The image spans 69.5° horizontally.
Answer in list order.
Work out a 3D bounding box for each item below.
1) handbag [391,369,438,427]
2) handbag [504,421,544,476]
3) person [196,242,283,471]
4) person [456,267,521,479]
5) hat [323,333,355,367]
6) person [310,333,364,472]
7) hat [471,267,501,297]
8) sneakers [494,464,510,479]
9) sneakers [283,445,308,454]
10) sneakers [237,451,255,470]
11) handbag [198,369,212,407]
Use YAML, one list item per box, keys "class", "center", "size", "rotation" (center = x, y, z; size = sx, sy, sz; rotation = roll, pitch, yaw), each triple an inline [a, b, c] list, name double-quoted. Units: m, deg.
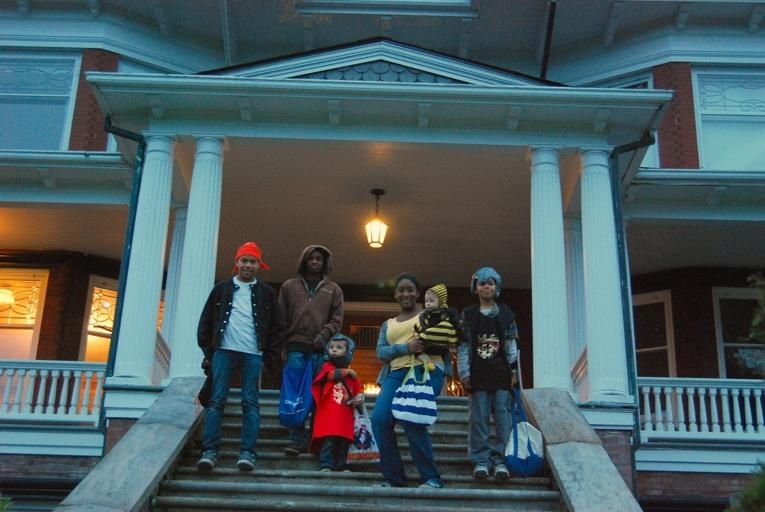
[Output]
- class: "handbag"
  center: [0.348, 1.542, 5.971]
  size: [0.605, 0.764, 0.269]
  rotation: [6, -42, -1]
- class: "handbag"
  center: [1.605, 2.172, 6.150]
  size: [0.505, 0.604, 0.232]
  rotation: [6, -8, -31]
- class: "person"
  center: [-1.671, 1.122, 6.475]
  size: [0.947, 2.610, 0.604]
  rotation: [4, -7, -16]
- class: "person"
  center: [1.203, 1.313, 6.378]
  size: [0.682, 2.359, 0.579]
  rotation: [1, -7, 8]
- class: "hat"
  center: [-0.456, 1.171, 6.752]
  size: [0.353, 0.398, 0.408]
  rotation: [-2, -28, 9]
- class: "person"
  center: [-0.559, 1.696, 6.488]
  size: [0.491, 1.517, 0.590]
  rotation: [7, -9, -34]
- class: "hat"
  center: [1.281, 0.307, 6.770]
  size: [0.376, 0.318, 0.411]
  rotation: [6, -3, -11]
- class: "sneakers"
  center: [1.311, 2.381, 6.065]
  size: [0.169, 0.172, 0.107]
  rotation: [2, -7, 0]
- class: "sneakers"
  center: [-1.013, 2.300, 6.557]
  size: [0.274, 0.101, 0.099]
  rotation: [14, -20, -33]
- class: "sneakers"
  center: [-1.500, 2.286, 6.161]
  size: [0.205, 0.204, 0.170]
  rotation: [6, -8, -29]
- class: "handbag"
  center: [-2.010, 1.542, 6.418]
  size: [0.153, 0.376, 0.282]
  rotation: [6, 1, -3]
